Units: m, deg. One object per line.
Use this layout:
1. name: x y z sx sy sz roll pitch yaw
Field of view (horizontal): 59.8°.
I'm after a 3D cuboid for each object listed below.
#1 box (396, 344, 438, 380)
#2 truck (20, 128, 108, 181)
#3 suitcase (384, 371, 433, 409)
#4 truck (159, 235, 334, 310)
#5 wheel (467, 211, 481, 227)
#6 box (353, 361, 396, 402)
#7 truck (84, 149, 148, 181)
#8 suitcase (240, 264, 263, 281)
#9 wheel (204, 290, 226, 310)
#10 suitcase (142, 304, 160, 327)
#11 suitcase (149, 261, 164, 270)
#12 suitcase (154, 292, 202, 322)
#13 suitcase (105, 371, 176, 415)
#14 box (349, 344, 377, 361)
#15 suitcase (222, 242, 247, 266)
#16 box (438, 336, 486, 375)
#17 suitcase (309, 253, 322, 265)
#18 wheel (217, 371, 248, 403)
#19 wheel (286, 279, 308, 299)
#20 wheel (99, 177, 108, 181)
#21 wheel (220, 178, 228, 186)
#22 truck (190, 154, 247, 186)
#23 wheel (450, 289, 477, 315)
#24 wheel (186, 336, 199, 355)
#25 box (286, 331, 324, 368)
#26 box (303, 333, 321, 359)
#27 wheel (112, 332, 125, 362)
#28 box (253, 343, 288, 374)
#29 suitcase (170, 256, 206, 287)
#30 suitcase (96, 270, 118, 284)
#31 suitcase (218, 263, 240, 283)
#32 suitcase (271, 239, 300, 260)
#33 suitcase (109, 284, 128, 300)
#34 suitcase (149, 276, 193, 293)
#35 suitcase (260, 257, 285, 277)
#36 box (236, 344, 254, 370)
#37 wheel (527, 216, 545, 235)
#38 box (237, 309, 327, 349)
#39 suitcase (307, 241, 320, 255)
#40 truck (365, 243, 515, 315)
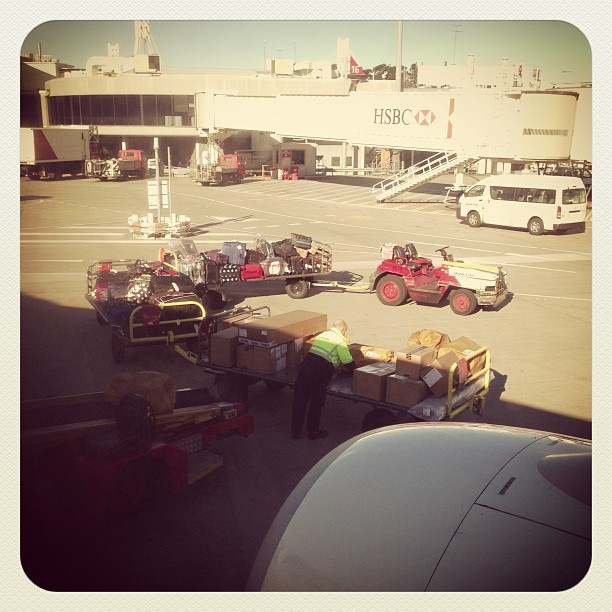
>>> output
1. box: 1.654 0.683 8.035 0.430 0.344 0.791 8 16 35
2. truck: -22.970 -14.535 51.812 5.213 4.687 9.673 14 20 40
3. suitcase: 1.462 1.215 7.772 0.500 0.298 0.510 7 7 40
4. truck: -2.017 -1.306 16.523 5.036 1.891 2.258 -9 16 -24
5. wheel: 9.464 -4.897 29.861 0.336 0.820 0.877 -3 8 -22
6. box: 1.172 1.170 8.418 0.521 0.396 0.931 13 10 30
7. truck: -18.312 -13.917 53.695 3.746 2.913 6.958 13 19 42
8. suitcase: -1.632 -1.013 15.797 0.704 0.424 0.476 -4 8 -29
9. wheel: -2.690 -0.154 15.505 0.479 0.517 0.606 0 -8 -9
10. suitcase: -3.241 0.209 11.080 0.427 0.390 0.178 1 6 -18
11. suitcase: -4.226 -1.113 14.886 0.395 0.181 0.795 -10 10 -2
12. suitcase: -2.809 -0.004 11.608 0.641 0.833 0.835 5 17 -11
13. suitcase: -2.392 1.319 7.429 0.607 0.317 0.743 11 -30 -23
14. box: 0.908 0.814 9.320 0.351 0.162 0.602 -1 13 41
15. suitcase: -2.108 -1.497 15.903 0.907 0.778 0.668 0 6 -16
16. box: 2.695 0.770 9.146 0.689 0.391 0.671 -27 43 -34
17. suitcase: 0.278 -1.475 16.507 0.511 0.249 0.334 5 -30 4
18. wheel: -1.293 1.415 9.356 0.586 0.576 0.218 5 14 27
19. wheel: -0.293 -0.534 16.535 0.615 0.549 0.210 9 1 15
20. wheel: -20.415 -12.724 53.423 0.574 0.182 0.518 -1 0 -15
21. wheel: -7.682 -11.532 49.668 0.718 0.162 0.708 -10 -12 -2
22. truck: -7.896 -12.678 49.537 3.039 2.205 4.536 14 22 39
23. wheel: 4.418 -0.125 14.886 0.216 0.590 0.635 -10 23 -40
24. wheel: -2.381 0.836 11.462 0.109 0.425 0.465 -2 -8 37
25. box: -0.050 0.854 9.493 0.807 0.453 0.423 -8 7 -39
26. box: 0.116 0.719 9.731 0.274 0.315 0.477 2 8 12
27. wheel: -4.081 0.888 11.509 0.212 0.511 0.632 -2 11 -26
28. box: -0.642 0.896 9.050 0.276 0.313 0.509 22 18 31
29. suitcase: -3.383 -0.944 15.230 0.915 1.109 0.723 0 8 8
30. suitcase: -5.426 -0.798 14.488 0.514 0.416 0.381 -3 7 -3
31. suitcase: -2.249 -0.956 15.449 0.697 0.591 0.147 -19 13 -40
32. suitcase: -0.667 -1.755 16.496 0.790 0.549 0.287 -7 -31 -19
33. suitcase: -4.563 -0.354 12.803 0.449 0.142 0.428 -14 19 -29
34. suitcase: -3.386 -0.531 13.449 0.678 0.195 0.633 1 14 -15
35. suitcase: -1.009 -1.102 16.191 0.540 0.651 1.016 0 0 45
36. box: -1.057 0.873 9.198 0.421 0.356 0.291 6 15 12
37. wheel: 12.027 -4.199 27.678 0.343 0.971 0.942 -10 11 -35
38. box: -0.424 0.414 9.709 0.767 0.284 1.629 7 12 32
39. suitcase: 0.219 -1.799 16.565 0.373 0.332 0.109 20 -2 26
40. truck: 3.875 -0.776 15.697 3.709 1.524 2.003 6 16 24
